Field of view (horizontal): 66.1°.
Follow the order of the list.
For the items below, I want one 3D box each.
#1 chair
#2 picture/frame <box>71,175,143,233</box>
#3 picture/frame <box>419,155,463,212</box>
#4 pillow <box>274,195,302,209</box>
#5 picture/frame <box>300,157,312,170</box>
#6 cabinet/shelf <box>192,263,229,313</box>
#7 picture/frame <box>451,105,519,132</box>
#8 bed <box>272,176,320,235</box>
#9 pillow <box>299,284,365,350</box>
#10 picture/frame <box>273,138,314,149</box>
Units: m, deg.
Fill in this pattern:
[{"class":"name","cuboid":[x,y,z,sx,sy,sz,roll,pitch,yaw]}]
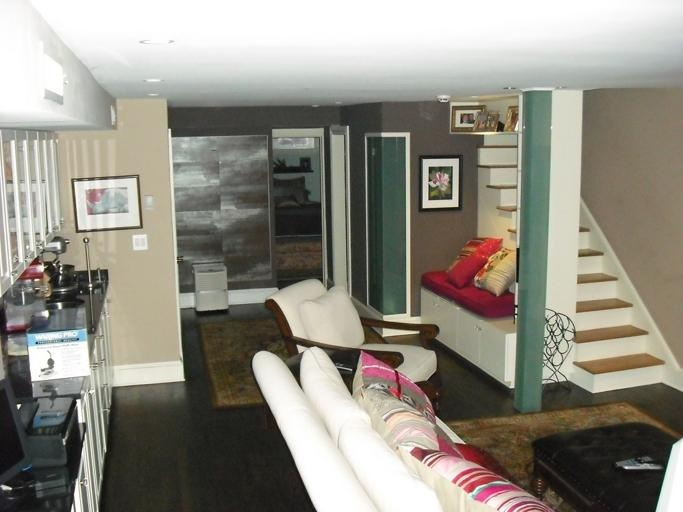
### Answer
[{"class":"chair","cuboid":[0.101,0.579,4.575,1.337,1.104,0.954,1,9,31]},{"class":"picture/frame","cuboid":[-2.212,-0.497,4.866,0.526,0.449,0.052,-5,13,-13]},{"class":"picture/frame","cuboid":[1.165,-0.894,6.279,0.664,0.788,0.031,-2,7,-18]},{"class":"pillow","cuboid":[-1.037,-1.066,10.400,0.530,0.201,0.141,-3,13,-6]},{"class":"picture/frame","cuboid":[-0.734,-1.853,10.434,0.254,0.323,0.034,-1,5,-16]},{"class":"cabinet/shelf","cuboid":[-1.816,0.435,7.568,0.596,0.822,0.600,-3,8,-17]},{"class":"picture/frame","cuboid":[1.548,-1.439,5.497,0.469,0.294,0.839,-10,16,-35]},{"class":"bed","cuboid":[-1.000,-1.044,10.717,1.145,1.089,1.127,-6,25,-12]},{"class":"pillow","cuboid":[-0.101,0.534,4.465,0.252,0.449,0.488,5,17,39]},{"class":"picture/frame","cuboid":[-0.937,-2.073,9.728,0.741,0.221,1.215,3,14,20]}]
